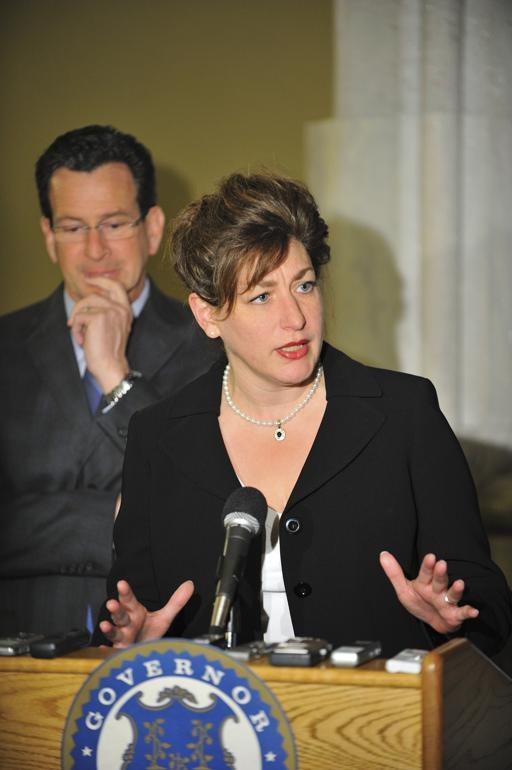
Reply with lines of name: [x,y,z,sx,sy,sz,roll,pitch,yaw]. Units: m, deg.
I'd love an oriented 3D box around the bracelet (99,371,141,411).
bracelet: [-0.488,0.025,2.473,0.054,0.146,0.126,46,27,-2]

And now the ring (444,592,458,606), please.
ring: [0.335,0.373,1.188,0.027,0.024,0.011,1,10,4]

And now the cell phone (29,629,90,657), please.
cell phone: [-0.320,0.420,1.145,0.031,0.021,0.114,1,1,15]
